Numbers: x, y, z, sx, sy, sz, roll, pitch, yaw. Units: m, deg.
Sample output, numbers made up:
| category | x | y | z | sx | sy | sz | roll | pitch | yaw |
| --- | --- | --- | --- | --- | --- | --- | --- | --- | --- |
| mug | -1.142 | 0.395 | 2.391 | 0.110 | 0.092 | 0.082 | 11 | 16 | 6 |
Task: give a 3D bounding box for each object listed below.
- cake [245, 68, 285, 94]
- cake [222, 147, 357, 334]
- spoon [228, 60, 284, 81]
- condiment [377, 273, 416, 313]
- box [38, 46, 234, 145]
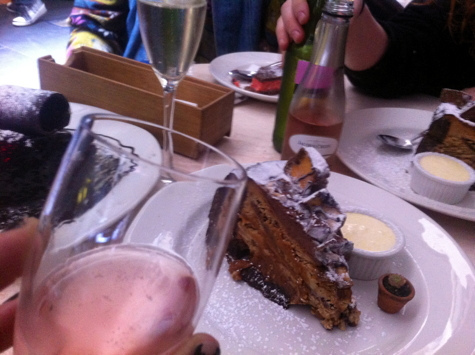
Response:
| category | x | y | z | sx | sy | sz | roll | pitch | yaw |
| --- | --- | --- | --- | --- | --- | --- | --- | --- | --- |
| cake | 0.092 | -0.319 | 1.340 | 0.128 | 0.061 | 0.178 | 2 | 10 | -7 |
| cake | 0.089 | 0.101 | 0.742 | 0.185 | 0.254 | 0.366 | -6 | 29 | -20 |
| spoon | 0.075 | -0.390 | 1.368 | 0.159 | 0.025 | 0.081 | -22 | 33 | -19 |
| condiment | 0.281 | 0.204 | 0.671 | 0.064 | 0.047 | 0.065 | 11 | 18 | 0 |
| box | -0.279 | -0.237 | 1.014 | 0.534 | 0.174 | 0.206 | 23 | 43 | 19 |
